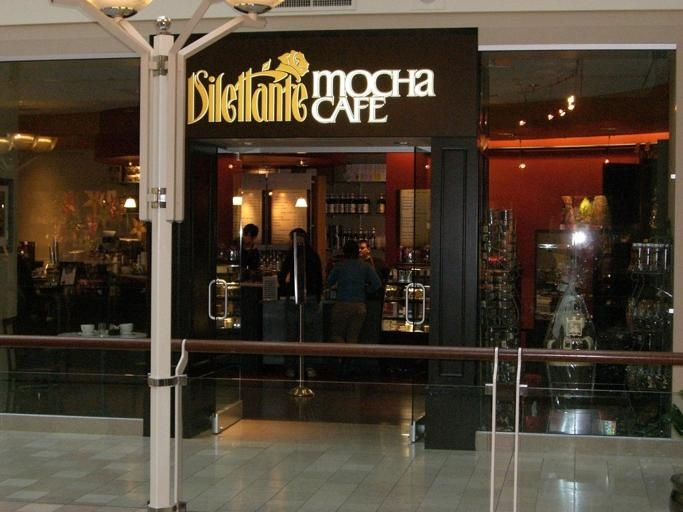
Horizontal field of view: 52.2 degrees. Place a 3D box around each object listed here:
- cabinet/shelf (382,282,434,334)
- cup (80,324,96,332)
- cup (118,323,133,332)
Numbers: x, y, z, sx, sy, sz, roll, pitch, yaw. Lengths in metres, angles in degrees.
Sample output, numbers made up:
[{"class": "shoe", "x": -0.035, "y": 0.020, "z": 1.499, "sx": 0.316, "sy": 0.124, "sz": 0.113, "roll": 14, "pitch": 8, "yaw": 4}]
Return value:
[{"class": "cabinet/shelf", "x": 0.776, "y": 0.530, "z": 7.410, "sx": 0.555, "sy": 0.504, "sz": 0.304, "roll": -1, "pitch": -6, "yaw": 33}, {"class": "cup", "x": -2.472, "y": 0.694, "z": 6.768, "sx": 0.097, "sy": 0.061, "sz": 0.090, "roll": 0, "pitch": -1, "yaw": 0}, {"class": "cup", "x": -2.089, "y": 0.680, "z": 6.761, "sx": 0.090, "sy": 0.060, "sz": 0.089, "roll": 2, "pitch": 0, "yaw": 0}]
